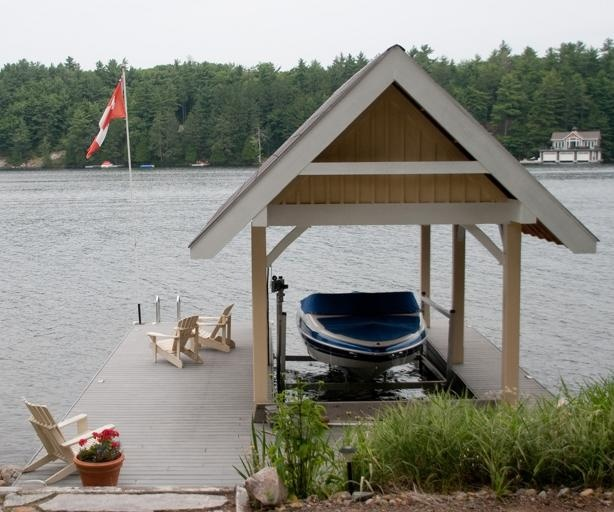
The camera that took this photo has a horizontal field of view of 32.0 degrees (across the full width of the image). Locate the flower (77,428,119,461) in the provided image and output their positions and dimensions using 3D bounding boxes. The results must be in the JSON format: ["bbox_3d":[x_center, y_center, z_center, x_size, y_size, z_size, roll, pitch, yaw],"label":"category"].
[{"bbox_3d":[-3.373,2.993,16.778,0.674,0.516,0.562,-3,-26,-23],"label":"flower"}]

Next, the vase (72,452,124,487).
[{"bbox_3d":[-3.306,3.364,16.882,0.792,0.586,0.804,4,8,0],"label":"vase"}]

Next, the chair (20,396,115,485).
[{"bbox_3d":[-4.218,2.992,17.631,1.593,1.368,1.143,-5,8,-42],"label":"chair"}]

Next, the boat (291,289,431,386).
[{"bbox_3d":[1.067,1.565,21.005,2.439,1.632,1.798,2,5,4],"label":"boat"}]

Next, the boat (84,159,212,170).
[{"bbox_3d":[-21.286,-12.384,144.846,17.435,1.376,10.093,0,6,-20],"label":"boat"}]
